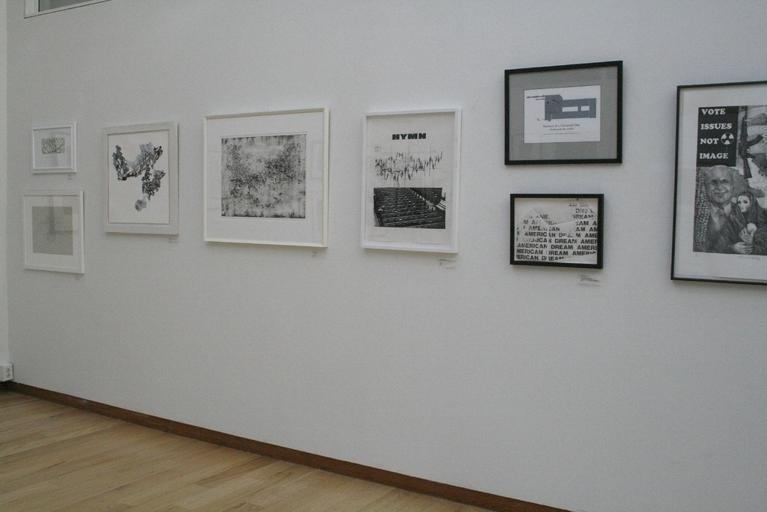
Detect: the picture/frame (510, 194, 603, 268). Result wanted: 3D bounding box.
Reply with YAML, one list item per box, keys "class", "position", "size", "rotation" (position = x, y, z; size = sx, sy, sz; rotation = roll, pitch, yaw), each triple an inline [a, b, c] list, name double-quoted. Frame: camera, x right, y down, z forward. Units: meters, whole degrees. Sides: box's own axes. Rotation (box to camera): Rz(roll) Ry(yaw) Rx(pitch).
- class: "picture/frame"
  position: [1.087, -0.161, 3.416]
  size: [0.425, 0.365, 0.019]
  rotation: [1, 3, 27]

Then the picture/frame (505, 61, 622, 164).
- class: "picture/frame"
  position: [1.127, -0.882, 3.387]
  size: [0.622, 0.552, 0.027]
  rotation: [0, 2, 20]

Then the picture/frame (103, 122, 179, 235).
- class: "picture/frame"
  position: [-1.975, -0.650, 4.578]
  size: [0.842, 1.038, 0.042]
  rotation: [4, 6, 28]

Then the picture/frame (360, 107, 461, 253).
- class: "picture/frame"
  position: [0.208, -0.525, 3.718]
  size: [0.895, 1.245, 0.056]
  rotation: [2, 1, 24]

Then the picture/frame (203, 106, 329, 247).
- class: "picture/frame"
  position: [-0.828, -0.598, 4.100]
  size: [0.981, 0.912, 0.042]
  rotation: [3, 5, 27]

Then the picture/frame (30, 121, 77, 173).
- class: "picture/frame"
  position: [-2.988, -0.967, 5.011]
  size: [0.445, 0.420, 0.027]
  rotation: [-1, 2, 10]

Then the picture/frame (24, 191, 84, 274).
- class: "picture/frame"
  position: [-3.009, -0.223, 5.050]
  size: [0.659, 0.716, 0.039]
  rotation: [2, 3, 14]
